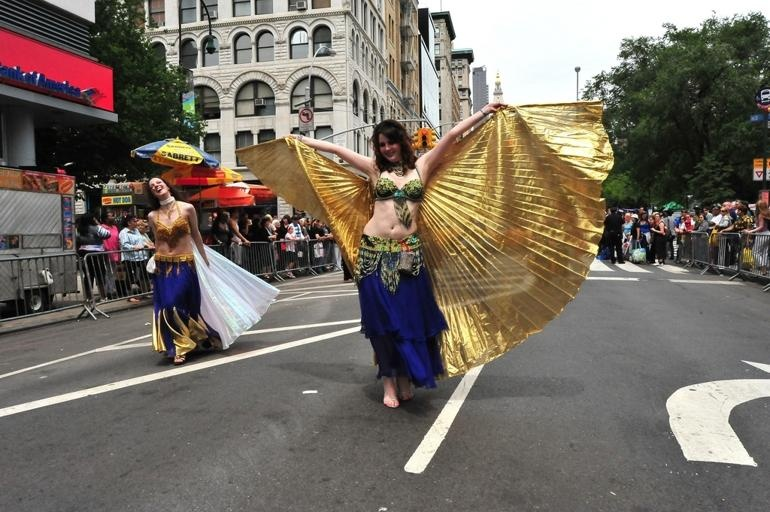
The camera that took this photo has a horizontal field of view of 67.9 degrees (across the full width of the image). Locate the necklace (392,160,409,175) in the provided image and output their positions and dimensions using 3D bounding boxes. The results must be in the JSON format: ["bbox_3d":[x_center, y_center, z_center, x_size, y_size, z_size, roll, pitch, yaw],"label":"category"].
[{"bbox_3d":[0.141,-0.870,5.690,0.128,0.144,0.050,-9,-29,-2],"label":"necklace"}]

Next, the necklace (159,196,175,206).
[{"bbox_3d":[-2.938,-0.729,7.682,0.133,0.071,0.130,-20,1,27],"label":"necklace"}]

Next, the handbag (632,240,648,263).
[{"bbox_3d":[10.335,-0.153,23.175,0.315,0.920,0.859,0,-3,16],"label":"handbag"}]

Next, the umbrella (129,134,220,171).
[{"bbox_3d":[-5.283,-2.667,14.537,1.010,0.717,1.951,4,7,39],"label":"umbrella"}]

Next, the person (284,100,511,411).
[{"bbox_3d":[0.128,0.057,5.774,1.284,2.826,0.808,0,5,7],"label":"person"}]

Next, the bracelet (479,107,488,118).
[{"bbox_3d":[1.015,-1.489,5.914,0.031,0.089,0.071,-1,14,41],"label":"bracelet"}]

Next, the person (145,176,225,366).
[{"bbox_3d":[-2.746,0.164,7.668,0.760,2.411,0.655,-3,5,-24],"label":"person"}]
